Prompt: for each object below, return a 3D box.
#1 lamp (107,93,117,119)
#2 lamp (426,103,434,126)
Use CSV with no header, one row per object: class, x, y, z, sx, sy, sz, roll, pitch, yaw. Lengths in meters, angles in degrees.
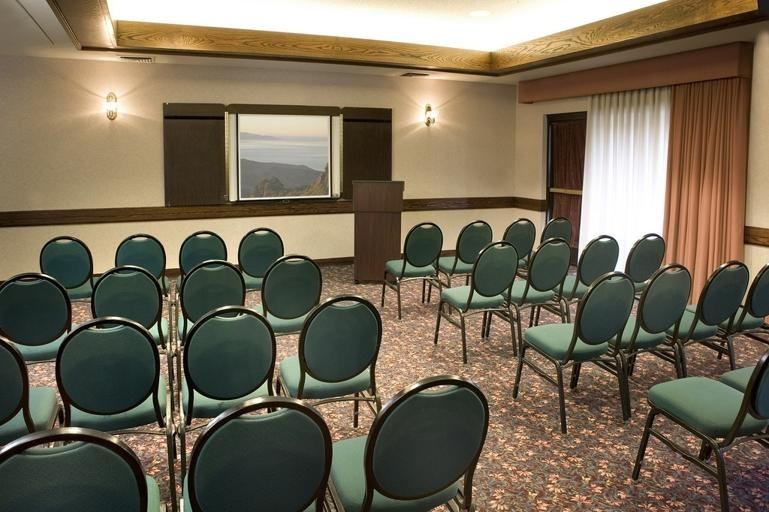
lamp,-4.212,-2.322,7.879,0.172,0.405,0.088,-4,11,-27
lamp,0.866,-2.653,9.568,0.210,0.394,0.058,-5,12,-31
